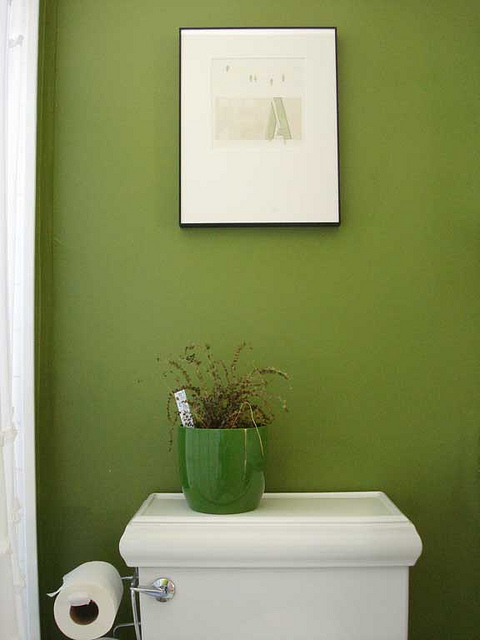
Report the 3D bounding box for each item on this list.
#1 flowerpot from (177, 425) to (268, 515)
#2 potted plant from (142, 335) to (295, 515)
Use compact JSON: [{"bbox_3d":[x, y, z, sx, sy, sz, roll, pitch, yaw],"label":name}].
[{"bbox_3d":[-0.034,0.273,1.078,0.164,0.165,0.064,-2,4,-1],"label":"flowerpot"},{"bbox_3d":[-0.039,0.201,1.221,0.239,0.380,0.220,-4,-5,36],"label":"potted plant"}]
